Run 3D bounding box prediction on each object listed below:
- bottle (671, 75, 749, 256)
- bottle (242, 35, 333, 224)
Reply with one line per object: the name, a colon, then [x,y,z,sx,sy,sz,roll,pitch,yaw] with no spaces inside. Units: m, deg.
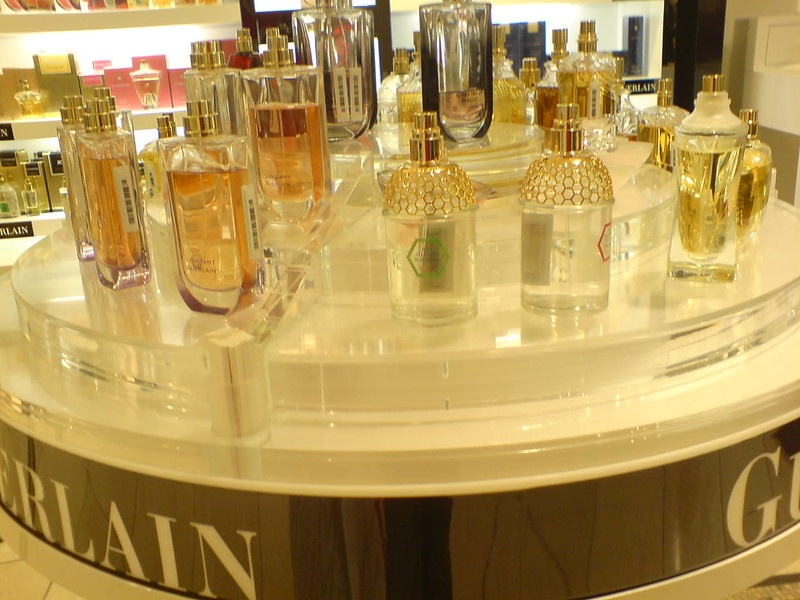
bottle: [0.412,-0.174,0.869,0.079,0.252,0.085,-8,28,4]
bottle: [-0.155,-0.245,0.890,0.102,0.287,0.065,-1,45,-4]
